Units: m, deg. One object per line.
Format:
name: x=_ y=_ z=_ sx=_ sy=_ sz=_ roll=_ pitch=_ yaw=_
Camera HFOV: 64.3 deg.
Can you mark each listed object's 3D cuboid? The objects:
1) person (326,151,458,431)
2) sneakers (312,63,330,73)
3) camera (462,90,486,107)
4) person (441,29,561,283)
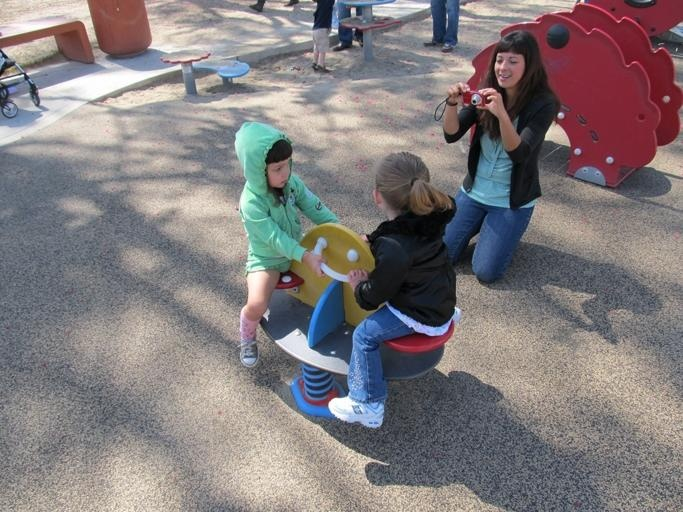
person: x=0.316 y=0.223 z=2.940 sx=0.591 sy=1.266 sz=0.851 roll=12 pitch=40 yaw=12
sneakers: x=-0.311 y=-2.808 z=8.106 sx=0.223 sy=0.092 sz=0.128 roll=-16 pitch=53 yaw=-33
camera: x=0.867 y=-1.056 z=3.609 sx=0.106 sy=0.063 sz=0.144 roll=-7 pitch=21 yaw=-22
person: x=1.063 y=-0.702 z=3.914 sx=0.800 sy=1.578 sz=0.812 roll=29 pitch=46 yaw=29
